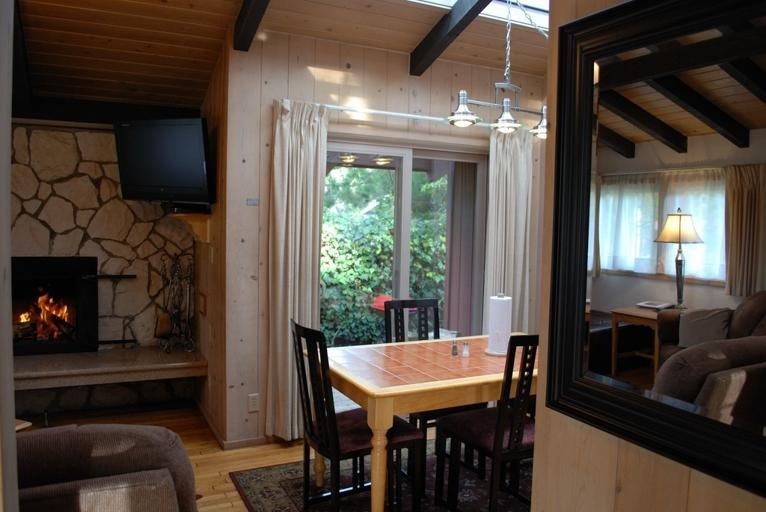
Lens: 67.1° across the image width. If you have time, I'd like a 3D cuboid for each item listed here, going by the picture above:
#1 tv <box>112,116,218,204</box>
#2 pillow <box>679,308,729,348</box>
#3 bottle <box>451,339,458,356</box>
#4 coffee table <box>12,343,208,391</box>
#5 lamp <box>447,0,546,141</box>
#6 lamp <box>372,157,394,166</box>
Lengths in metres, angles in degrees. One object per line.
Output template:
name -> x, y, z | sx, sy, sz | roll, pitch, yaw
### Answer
tv -> -1.688, -0.723, 4.419 | 0.837, 0.603, 0.177 | 4, 7, 23
pillow -> 0.994, 0.225, 1.779 | 0.126, 0.111, 0.049 | 0, -33, 50
bottle -> 0.475, 0.615, 3.844 | 0.043, 0.078, 0.019 | 0, -39, 11
coffee table -> -2.225, 0.901, 4.739 | 1.453, 0.156, 0.569 | -1, 7, -21
lamp -> 0.847, -1.342, 4.071 | 0.608, 1.008, 1.816 | 2, 7, 13
lamp -> -0.001, -0.803, 4.909 | 0.162, 0.071, 0.026 | -3, 7, -30
